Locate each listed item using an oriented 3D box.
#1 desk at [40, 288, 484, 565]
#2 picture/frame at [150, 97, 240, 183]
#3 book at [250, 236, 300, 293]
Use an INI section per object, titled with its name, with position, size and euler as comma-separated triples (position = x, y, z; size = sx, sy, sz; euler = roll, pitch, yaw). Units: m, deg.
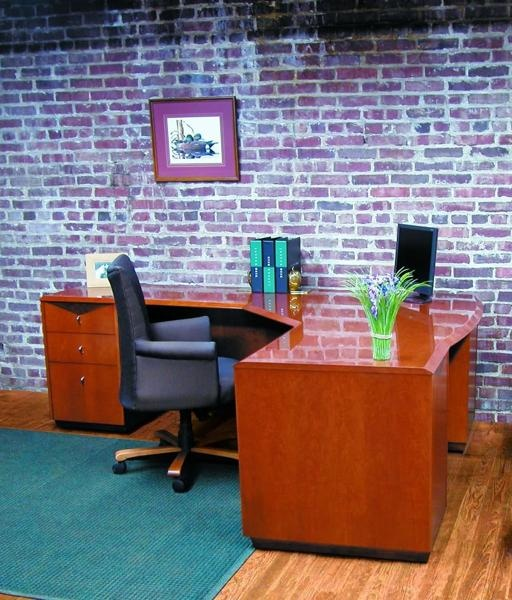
[desk]
position = 0.394, 0.402, 2.313
size = 1.779, 0.587, 1.175
euler = 1, 7, 18
[picture/frame]
position = -0.375, -0.984, 3.454
size = 0.615, 0.476, 0.038
euler = 8, 20, 28
[book]
position = 0.117, -0.202, 3.235
size = 0.316, 0.325, 0.246
euler = -3, 6, 0
